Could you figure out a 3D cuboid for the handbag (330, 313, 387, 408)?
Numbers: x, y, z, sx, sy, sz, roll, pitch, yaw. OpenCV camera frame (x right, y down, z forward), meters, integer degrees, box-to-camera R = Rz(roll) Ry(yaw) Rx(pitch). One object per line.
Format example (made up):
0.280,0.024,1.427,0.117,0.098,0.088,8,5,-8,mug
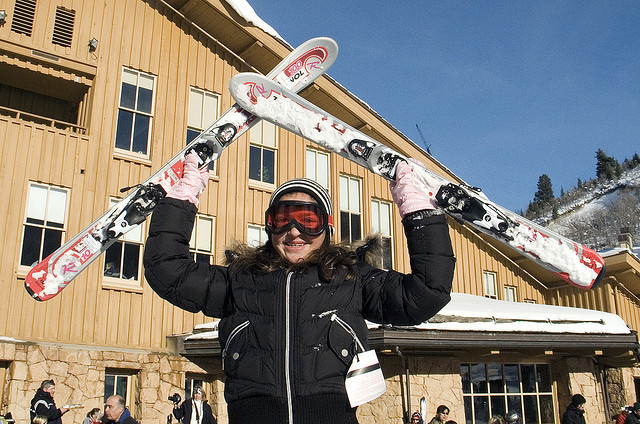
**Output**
0.341,1.351,5.077,0.528,0.810,0.173,3,-12,-4,handbag

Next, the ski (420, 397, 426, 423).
2.412,4.558,12.973,0.100,0.722,0.037,-10,-64,8,ski

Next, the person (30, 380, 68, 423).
-5.070,3.537,10.401,0.528,0.713,0.798,8,-13,-28,person
